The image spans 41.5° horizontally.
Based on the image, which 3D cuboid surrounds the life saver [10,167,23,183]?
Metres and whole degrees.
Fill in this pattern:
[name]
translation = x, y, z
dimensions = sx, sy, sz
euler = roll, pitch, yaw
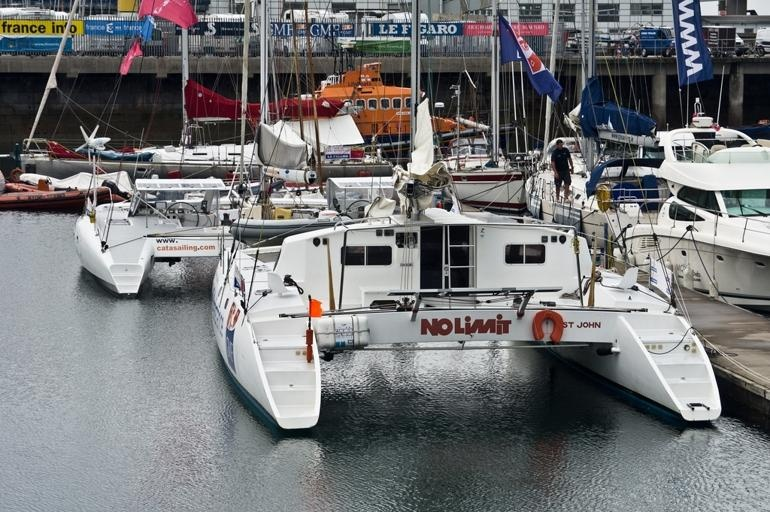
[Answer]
[life saver]
translation = -12.581, -2.786, 34.652
dimensions = 0.406, 0.314, 0.958
euler = -12, 26, -19
